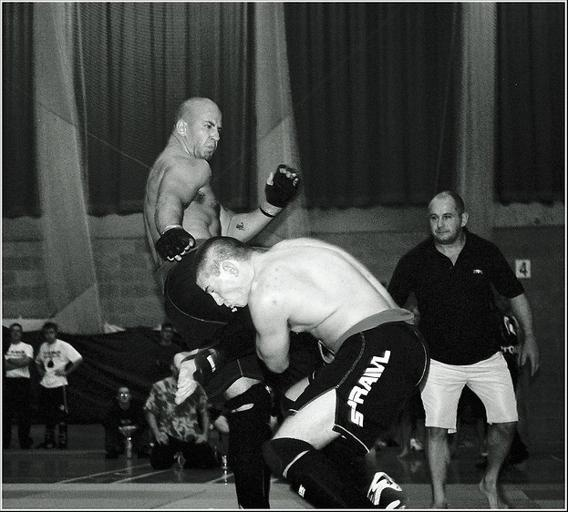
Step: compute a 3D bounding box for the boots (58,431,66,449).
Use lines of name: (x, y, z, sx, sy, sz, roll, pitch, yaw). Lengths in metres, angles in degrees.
boots: (-2.093, 1.720, 7.702, 0.094, 0.157, 0.057, -1, -4, 3)

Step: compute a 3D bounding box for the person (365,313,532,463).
person: (1.666, 1.189, 7.134, 1.103, 1.369, 0.415, 9, 1, 35)

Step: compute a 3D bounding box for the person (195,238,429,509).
person: (0.182, 0.554, 4.795, 1.347, 1.861, 1.043, -9, -1, 14)

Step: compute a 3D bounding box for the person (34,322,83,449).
person: (-2.184, 1.231, 7.852, 0.387, 1.166, 0.282, -2, -4, 27)

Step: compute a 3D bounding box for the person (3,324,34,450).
person: (-2.539, 1.232, 7.820, 0.271, 1.152, 0.401, 1, -4, -19)
